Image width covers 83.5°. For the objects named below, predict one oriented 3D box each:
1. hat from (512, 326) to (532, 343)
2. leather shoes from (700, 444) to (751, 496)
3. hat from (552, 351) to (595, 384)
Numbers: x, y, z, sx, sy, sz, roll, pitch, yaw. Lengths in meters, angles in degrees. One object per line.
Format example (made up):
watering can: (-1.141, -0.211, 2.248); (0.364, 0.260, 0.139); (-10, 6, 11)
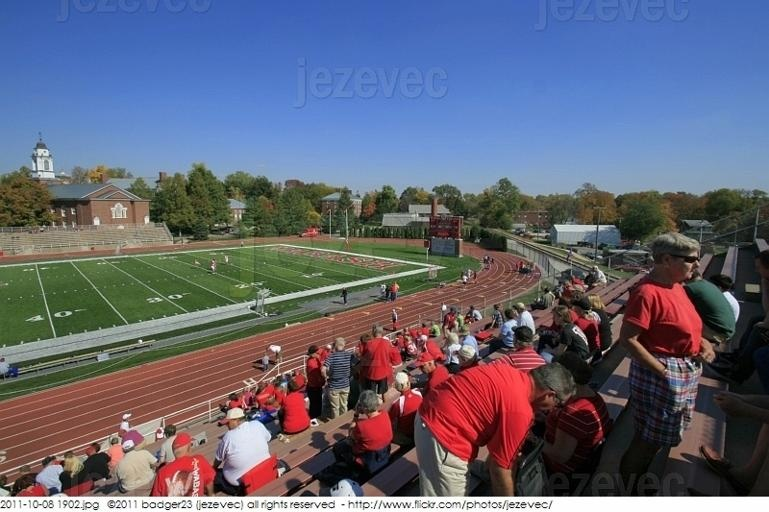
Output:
hat: (2.023, 1.116, 6.350); (0.225, 0.152, 0.278); (4, 18, 2)
leather shoes: (3.865, 2.457, 4.946); (0.194, 0.180, 0.503); (13, 29, -36)
hat: (2.388, 1.428, 5.390); (0.348, 0.393, 0.513); (2, 9, 12)
